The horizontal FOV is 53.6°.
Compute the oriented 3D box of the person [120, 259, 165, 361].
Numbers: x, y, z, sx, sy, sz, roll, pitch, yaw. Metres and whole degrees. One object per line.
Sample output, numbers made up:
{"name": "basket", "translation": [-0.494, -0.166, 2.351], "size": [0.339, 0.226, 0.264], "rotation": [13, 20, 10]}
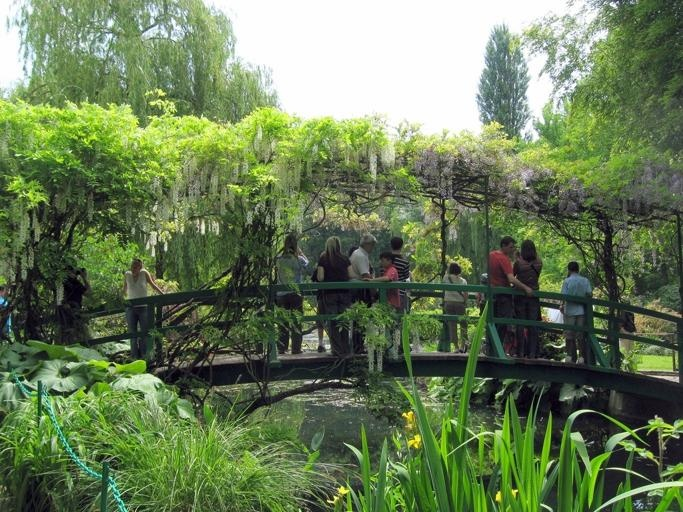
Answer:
{"name": "person", "translation": [-2.468, 0.604, 8.362], "size": [0.395, 1.228, 1.075], "rotation": [2, -3, -17]}

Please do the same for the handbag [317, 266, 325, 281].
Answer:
{"name": "handbag", "translation": [-0.255, 0.200, 8.223], "size": [0.075, 0.187, 0.052], "rotation": [1, -2, -4]}

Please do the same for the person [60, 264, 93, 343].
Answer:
{"name": "person", "translation": [-2.982, 0.533, 7.610], "size": [0.300, 0.865, 0.207], "rotation": [3, -3, -36]}
